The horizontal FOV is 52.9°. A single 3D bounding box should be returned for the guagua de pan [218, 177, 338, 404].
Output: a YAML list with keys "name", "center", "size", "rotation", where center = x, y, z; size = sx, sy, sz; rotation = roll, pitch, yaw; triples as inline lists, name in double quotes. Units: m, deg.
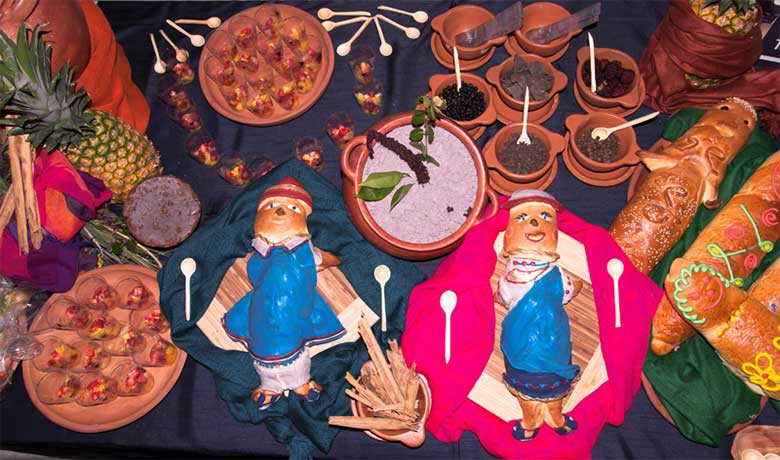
- name: "guagua de pan"
  center: [-0.798, 0.452, 6.138]
  size: [0.914, 1.654, 0.481]
  rotation: [-1, 1, 2]

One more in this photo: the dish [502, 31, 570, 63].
- name: "dish"
  center: [1.205, -1.491, 6.431]
  size: [0.537, 0.264, 0.315]
  rotation: [-1, 12, 4]

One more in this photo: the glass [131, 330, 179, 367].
- name: "glass"
  center: [-1.826, 0.975, 6.224]
  size: [0.341, 0.229, 0.307]
  rotation: [4, -12, 6]

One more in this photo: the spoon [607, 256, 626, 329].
- name: "spoon"
  center: [1.677, 0.472, 5.863]
  size: [0.110, 0.488, 0.069]
  rotation: [-2, -3, 23]

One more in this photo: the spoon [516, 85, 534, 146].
- name: "spoon"
  center: [1.054, -0.879, 6.170]
  size: [0.090, 0.490, 0.070]
  rotation: [3, 2, 11]

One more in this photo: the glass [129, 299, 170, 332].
- name: "glass"
  center: [-1.914, 0.685, 6.260]
  size: [0.216, 0.259, 0.239]
  rotation: [-19, -3, -3]

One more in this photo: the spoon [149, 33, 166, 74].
- name: "spoon"
  center: [-1.951, -1.478, 6.578]
  size: [0.100, 0.384, 0.054]
  rotation: [-12, -13, -28]

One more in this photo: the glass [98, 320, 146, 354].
- name: "glass"
  center: [-2.094, 0.866, 6.138]
  size: [0.275, 0.234, 0.210]
  rotation: [-23, -3, -2]

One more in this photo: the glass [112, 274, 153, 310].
- name: "glass"
  center: [-2.027, 0.499, 6.150]
  size: [0.226, 0.274, 0.212]
  rotation: [-2, -7, 5]

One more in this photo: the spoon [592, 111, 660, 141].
- name: "spoon"
  center: [1.875, -0.836, 6.318]
  size: [0.530, 0.124, 0.080]
  rotation: [-23, -2, 20]

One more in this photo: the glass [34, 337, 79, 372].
- name: "glass"
  center: [-2.570, 0.999, 6.038]
  size: [0.244, 0.273, 0.203]
  rotation: [11, 3, 0]

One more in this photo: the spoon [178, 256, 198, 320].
- name: "spoon"
  center: [-1.584, 0.460, 6.119]
  size: [0.118, 0.480, 0.061]
  rotation: [0, 1, 0]

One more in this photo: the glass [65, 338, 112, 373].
- name: "glass"
  center: [-2.328, 0.974, 6.079]
  size: [0.230, 0.258, 0.206]
  rotation: [28, -3, -1]

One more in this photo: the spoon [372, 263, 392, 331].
- name: "spoon"
  center: [-0.057, 0.552, 6.120]
  size: [0.138, 0.513, 0.232]
  rotation: [-2, 12, -1]

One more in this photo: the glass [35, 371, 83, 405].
- name: "glass"
  center: [-2.543, 1.214, 6.004]
  size: [0.333, 0.236, 0.081]
  rotation: [-4, 12, -8]

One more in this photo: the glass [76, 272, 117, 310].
- name: "glass"
  center: [-2.303, 0.501, 6.145]
  size: [0.238, 0.287, 0.221]
  rotation: [-6, -13, 1]
